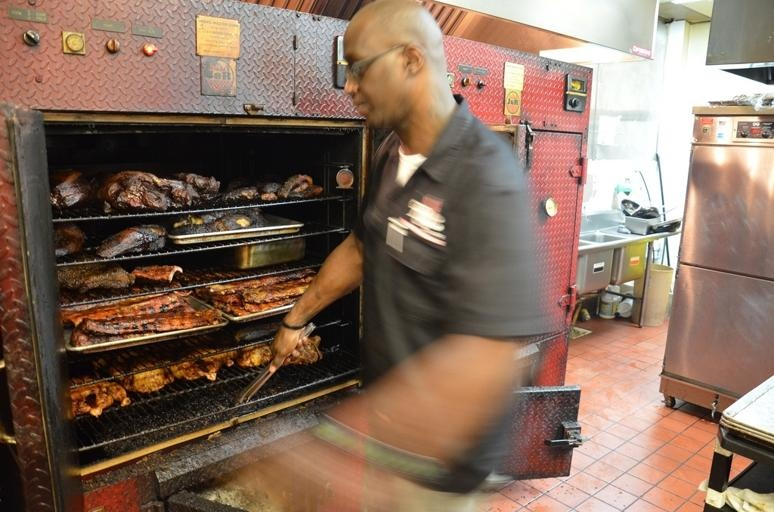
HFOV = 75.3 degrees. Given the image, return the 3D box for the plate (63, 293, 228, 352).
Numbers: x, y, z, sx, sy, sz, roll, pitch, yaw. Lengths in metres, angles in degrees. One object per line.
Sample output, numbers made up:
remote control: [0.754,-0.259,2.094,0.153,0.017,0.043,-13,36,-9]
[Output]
plate: [-1.412,0.378,2.902,0.648,0.086,0.381,-6,34,-30]

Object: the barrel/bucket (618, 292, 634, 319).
barrel/bucket: [3.698,0.799,7.816,0.211,0.417,0.320,7,-7,19]

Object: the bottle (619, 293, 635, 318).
bottle: [3.654,0.758,7.671,0.123,0.322,0.327,18,-5,-11]

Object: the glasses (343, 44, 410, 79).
glasses: [-0.075,-0.886,2.305,0.168,0.044,0.159,-28,20,-1]

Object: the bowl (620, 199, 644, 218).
bowl: [3.481,-0.683,7.170,0.212,0.104,0.279,-13,38,-20]

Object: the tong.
tong: [-0.715,0.690,3.158,0.614,0.087,0.101,-48,51,-10]

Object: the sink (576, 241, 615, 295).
sink: [2.535,0.129,6.125,0.642,0.423,0.422,-10,16,-33]
